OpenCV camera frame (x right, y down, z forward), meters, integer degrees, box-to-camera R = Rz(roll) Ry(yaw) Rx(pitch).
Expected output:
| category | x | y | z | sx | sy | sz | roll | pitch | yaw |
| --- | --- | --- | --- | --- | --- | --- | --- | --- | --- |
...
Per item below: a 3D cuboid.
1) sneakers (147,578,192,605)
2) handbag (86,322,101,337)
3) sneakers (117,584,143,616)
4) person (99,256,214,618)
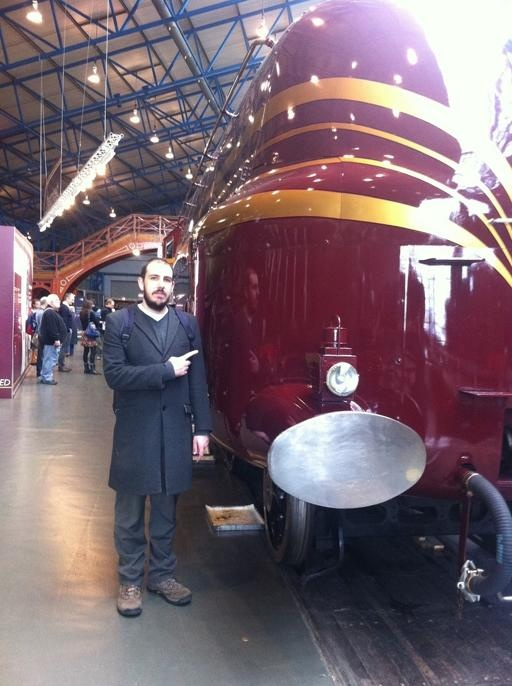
| category | x | y | z | sx | sy | sz | roll | pitch | yaw |
| --- | --- | --- | --- | --- | --- | --- | --- | --- | --- |
| sneakers | -0.375 | 1.061 | 2.215 | 0.204 | 0.084 | 0.070 | -3 | -8 | 44 |
| handbag | -3.601 | -0.300 | 11.407 | 0.267 | 0.358 | 0.485 | -5 | 7 | -9 |
| sneakers | -0.521 | 1.055 | 2.118 | 0.103 | 0.073 | 0.183 | 1 | 1 | -13 |
| person | -0.433 | 0.377 | 2.225 | 0.457 | 0.989 | 0.396 | 1 | 1 | -8 |
